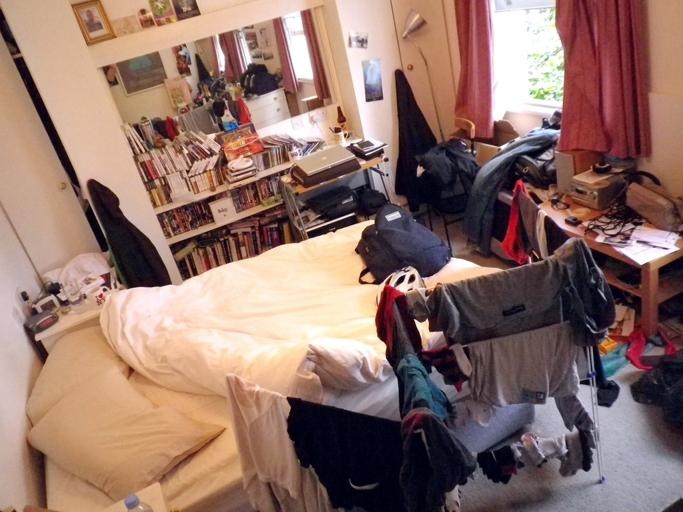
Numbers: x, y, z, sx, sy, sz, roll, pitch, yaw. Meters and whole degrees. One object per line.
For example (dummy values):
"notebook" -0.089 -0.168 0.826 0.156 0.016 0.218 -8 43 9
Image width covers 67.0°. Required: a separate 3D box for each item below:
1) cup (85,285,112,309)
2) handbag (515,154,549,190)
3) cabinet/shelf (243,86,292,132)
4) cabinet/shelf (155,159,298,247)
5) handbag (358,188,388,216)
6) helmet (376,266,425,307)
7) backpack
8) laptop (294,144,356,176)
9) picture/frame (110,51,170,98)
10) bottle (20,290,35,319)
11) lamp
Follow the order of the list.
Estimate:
"cup" -1.801 0.312 3.791 0.167 0.118 0.104 -23 25 -40
"handbag" 1.493 -0.631 4.013 0.233 0.102 0.239 31 44 18
"cabinet/shelf" -0.726 -1.406 4.967 0.390 0.366 0.212 -23 38 -15
"cabinet/shelf" -1.149 -0.467 4.799 1.581 0.368 0.671 -27 10 -14
"handbag" 0.267 -0.473 4.563 0.233 0.115 0.318 -3 25 0
"helmet" 0.367 0.158 3.119 0.197 0.114 0.286 6 47 43
"backpack" 0.388 -0.082 3.511 0.517 0.193 0.516 -33 60 -9
"laptop" -0.156 -0.853 4.559 0.493 0.127 0.346 -19 24 -19
"picture/frame" -1.736 -1.566 4.375 0.337 0.338 0.034 -21 28 -18
"bottle" -2.290 0.350 3.742 0.069 0.174 0.173 -22 26 -26
"lamp" 0.803 -1.710 4.986 0.349 1.254 0.162 -10 23 0
